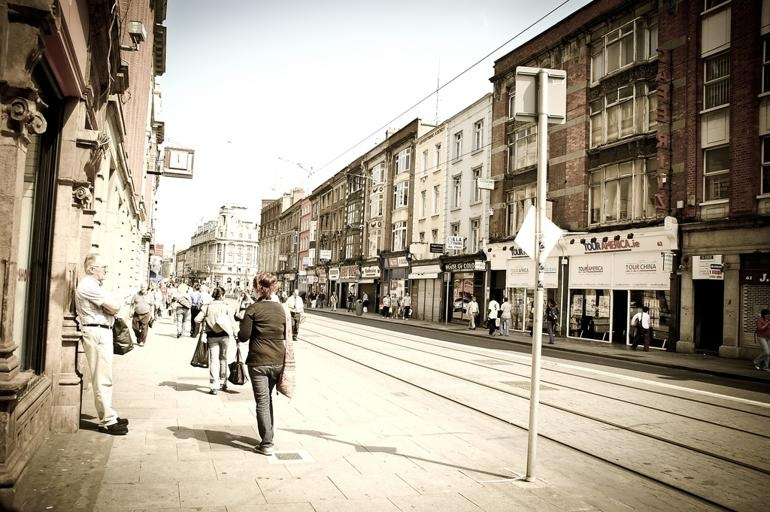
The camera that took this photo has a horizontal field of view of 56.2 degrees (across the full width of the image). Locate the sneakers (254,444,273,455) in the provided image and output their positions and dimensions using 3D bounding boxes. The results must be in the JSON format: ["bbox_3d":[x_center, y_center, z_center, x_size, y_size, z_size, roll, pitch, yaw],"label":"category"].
[{"bbox_3d":[-1.942,3.031,11.444,0.327,0.170,0.156,0,-6,17],"label":"sneakers"}]

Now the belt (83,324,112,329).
[{"bbox_3d":[-4.778,1.143,11.922,0.418,0.062,0.132,6,-7,-33],"label":"belt"}]

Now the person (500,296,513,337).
[{"bbox_3d":[5.527,2.828,33.173,0.397,1.582,1.606,1,-6,6],"label":"person"}]

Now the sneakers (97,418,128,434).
[{"bbox_3d":[-4.492,2.809,11.954,0.345,0.143,0.260,1,1,-11],"label":"sneakers"}]

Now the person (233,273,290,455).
[{"bbox_3d":[-2.065,1.749,11.717,0.830,2.752,0.923,-4,-7,26],"label":"person"}]

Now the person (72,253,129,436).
[{"bbox_3d":[-4.726,1.443,11.966,0.883,2.917,0.453,4,-5,-24],"label":"person"}]

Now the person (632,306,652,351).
[{"bbox_3d":[9.773,2.734,27.376,0.697,1.613,1.685,-1,-6,20],"label":"person"}]

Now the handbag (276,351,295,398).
[{"bbox_3d":[-1.533,1.829,11.507,0.314,0.910,0.216,-8,28,-24],"label":"handbag"}]
